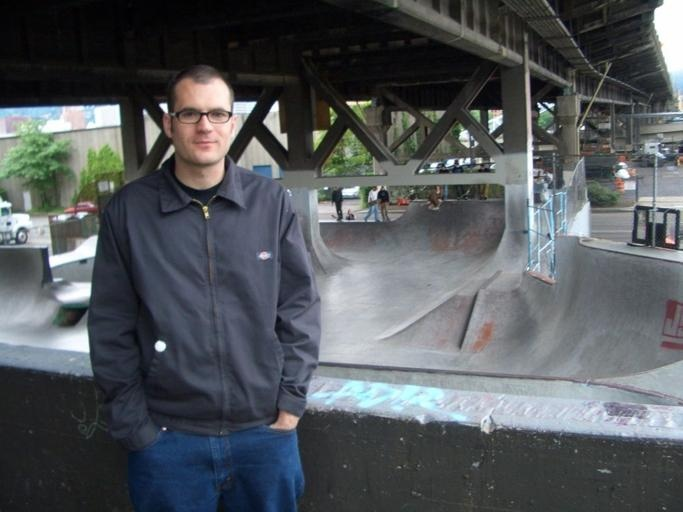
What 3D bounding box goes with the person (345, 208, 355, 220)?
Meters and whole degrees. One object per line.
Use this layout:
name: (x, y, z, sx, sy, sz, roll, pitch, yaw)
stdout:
person: (0.436, -2.298, 33.415, 0.520, 0.733, 0.851, -1, -4, 7)
